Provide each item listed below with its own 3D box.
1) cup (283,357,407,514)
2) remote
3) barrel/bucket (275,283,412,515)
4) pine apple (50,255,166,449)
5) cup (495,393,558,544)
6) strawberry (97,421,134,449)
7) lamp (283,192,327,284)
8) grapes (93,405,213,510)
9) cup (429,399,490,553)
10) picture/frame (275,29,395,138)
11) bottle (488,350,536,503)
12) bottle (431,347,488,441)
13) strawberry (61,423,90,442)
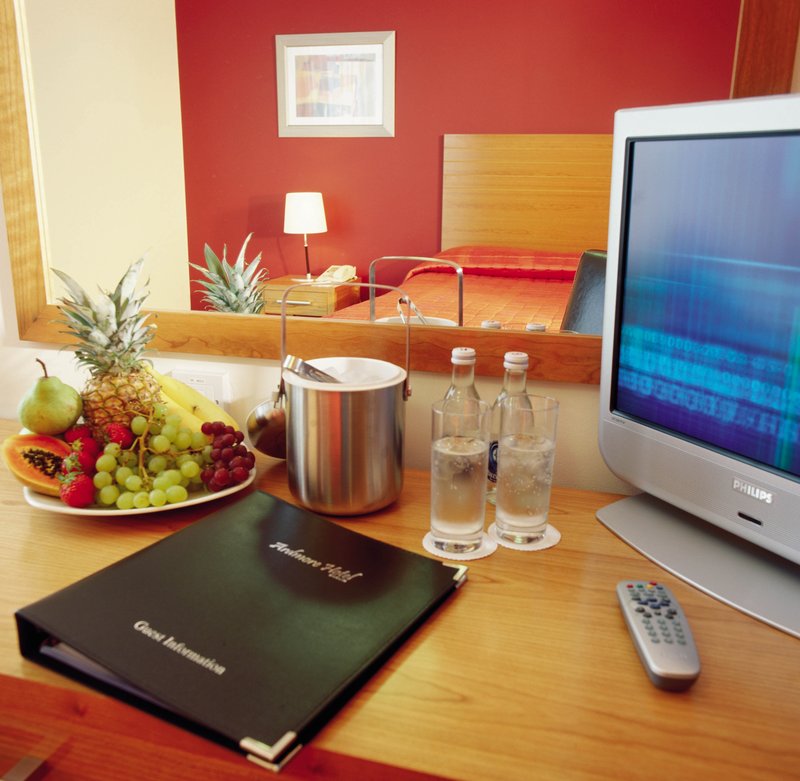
[{"bbox_3d":[-0.073,0.069,1.033,0.215,0.206,0.188,-6,13,-25],"label":"cup"},{"bbox_3d":[0.263,0.243,0.705,0.059,0.031,0.155,1,16,5],"label":"remote"},{"bbox_3d":[-0.072,0.043,1.004,0.163,0.198,0.255,5,14,16],"label":"barrel/bucket"},{"bbox_3d":[-0.436,-0.077,1.043,0.165,0.281,0.116,-5,20,-20],"label":"pine apple"},{"bbox_3d":[0.156,0.093,0.882,0.065,0.184,0.077,4,11,10],"label":"cup"},{"bbox_3d":[-0.399,0.054,0.974,0.037,0.027,0.045,-7,30,-21],"label":"strawberry"},{"bbox_3d":[-0.151,-0.250,1.112,0.070,0.141,0.095,-2,15,-8],"label":"lamp"},{"bbox_3d":[-0.336,0.091,0.985,0.146,0.137,0.128,9,21,22],"label":"grapes"},{"bbox_3d":[0.065,0.099,0.864,0.054,0.167,0.081,2,13,2],"label":"cup"},{"bbox_3d":[-0.105,-0.492,1.111,0.200,0.163,0.066,1,15,1],"label":"picture/frame"},{"bbox_3d":[0.143,0.050,0.949,0.074,0.194,0.101,0,13,-2],"label":"bottle"},{"bbox_3d":[0.086,0.010,0.898,0.069,0.118,0.067,1,20,0],"label":"bottle"},{"bbox_3d":[-0.468,0.059,1.002,0.035,0.026,0.025,-3,1,-11],"label":"strawberry"}]
